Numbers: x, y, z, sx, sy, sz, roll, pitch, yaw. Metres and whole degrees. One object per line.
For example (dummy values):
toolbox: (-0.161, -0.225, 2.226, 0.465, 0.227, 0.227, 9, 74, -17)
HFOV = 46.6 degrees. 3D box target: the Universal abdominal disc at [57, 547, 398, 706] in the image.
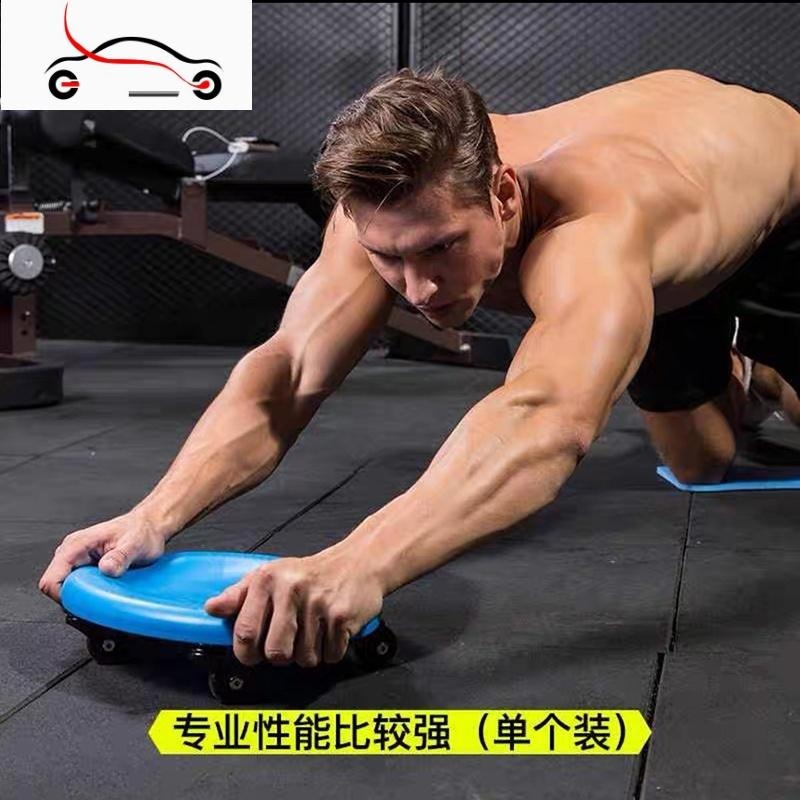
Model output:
Universal abdominal disc: (-0.202, 0.237, 1.042, 0.264, 0.114, 0.302, -8, 13, -41)
